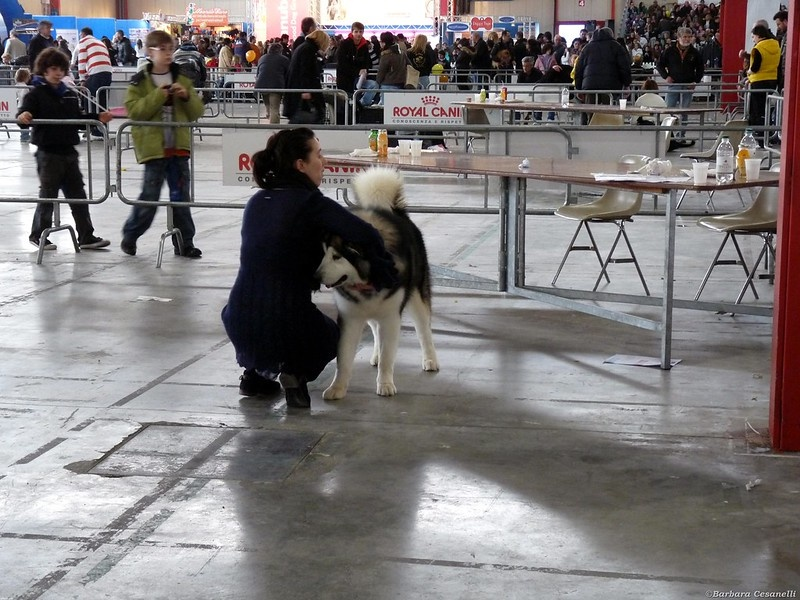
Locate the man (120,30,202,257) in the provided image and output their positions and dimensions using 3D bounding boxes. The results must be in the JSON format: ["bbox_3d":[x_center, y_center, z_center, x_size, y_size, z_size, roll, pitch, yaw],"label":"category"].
[{"bbox_3d":[-2.564,-1.664,8.934,0.957,2.438,0.621,-4,17,-14],"label":"man"}]

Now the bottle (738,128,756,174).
[{"bbox_3d":[2.878,-1.241,6.875,0.128,0.268,0.113,9,31,20],"label":"bottle"}]

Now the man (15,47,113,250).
[{"bbox_3d":[-3.772,-1.665,9.191,0.869,2.233,0.835,9,18,28],"label":"man"}]

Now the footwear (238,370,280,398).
[{"bbox_3d":[-0.849,0.566,5.418,0.370,0.128,0.120,-1,6,-28],"label":"footwear"}]
